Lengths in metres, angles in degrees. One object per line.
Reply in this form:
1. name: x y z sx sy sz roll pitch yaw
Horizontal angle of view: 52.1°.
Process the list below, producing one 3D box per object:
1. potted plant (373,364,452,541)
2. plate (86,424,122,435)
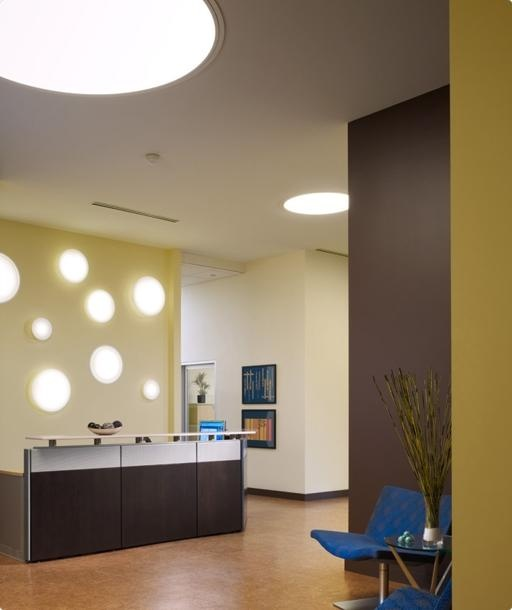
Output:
1. potted plant: 1.066 0.910 3.454 0.480 1.106 1.457 -3 -11 15
2. plate: -1.836 1.468 6.217 0.484 0.150 0.350 -11 -16 41
